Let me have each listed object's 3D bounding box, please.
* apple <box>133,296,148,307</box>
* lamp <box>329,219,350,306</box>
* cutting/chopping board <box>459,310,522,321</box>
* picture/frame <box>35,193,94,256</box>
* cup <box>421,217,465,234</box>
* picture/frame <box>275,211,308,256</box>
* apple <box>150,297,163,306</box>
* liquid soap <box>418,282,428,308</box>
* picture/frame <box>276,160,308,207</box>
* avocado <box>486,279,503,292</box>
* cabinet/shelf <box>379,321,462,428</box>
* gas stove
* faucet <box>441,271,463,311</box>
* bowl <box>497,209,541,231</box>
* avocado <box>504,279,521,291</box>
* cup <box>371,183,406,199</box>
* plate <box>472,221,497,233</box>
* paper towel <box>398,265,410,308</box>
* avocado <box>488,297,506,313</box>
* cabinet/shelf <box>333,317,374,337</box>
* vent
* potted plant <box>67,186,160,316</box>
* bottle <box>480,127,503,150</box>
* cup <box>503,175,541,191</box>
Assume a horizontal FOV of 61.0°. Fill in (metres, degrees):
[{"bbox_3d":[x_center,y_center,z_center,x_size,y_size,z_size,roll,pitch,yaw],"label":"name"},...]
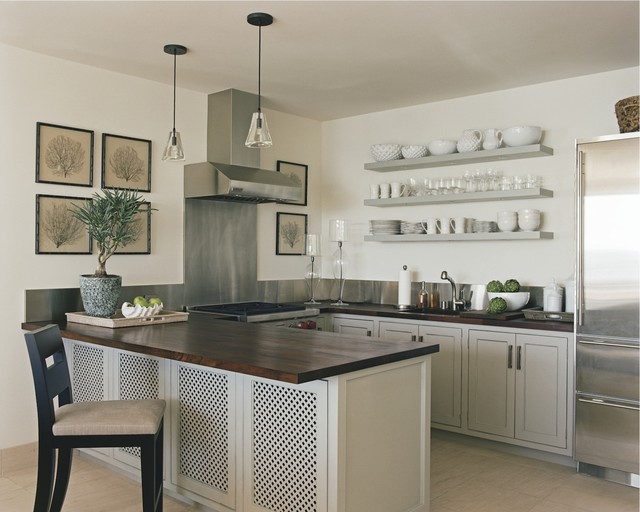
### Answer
[{"bbox_3d":[-1.264,0.319,3.826,0.090,0.036,0.093,2,2,-1],"label":"apple"},{"bbox_3d":[0.176,0.053,5.681,0.161,0.858,0.387,1,3,1],"label":"lamp"},{"bbox_3d":[1.347,0.472,4.276,0.462,0.053,0.307,2,2,23],"label":"cutting/chopping board"},{"bbox_3d":[-1.943,-0.240,4.070,0.039,0.528,0.503,-7,-8,44],"label":"picture/frame"},{"bbox_3d":[1.136,-0.264,4.886,0.265,0.099,0.167,-2,-6,18],"label":"cup"},{"bbox_3d":[-0.298,-0.233,5.661,0.048,0.457,0.520,2,1,31],"label":"picture/frame"},{"bbox_3d":[-1.176,0.324,3.863,0.070,0.040,0.089,1,-3,-5],"label":"apple"},{"bbox_3d":[0.952,0.357,5.014,0.087,0.216,0.414,2,2,10],"label":"liquid soap"},{"bbox_3d":[-0.302,-0.786,5.782,0.477,0.466,0.030,13,14,42],"label":"picture/frame"},{"bbox_3d":[1.463,0.257,4.522,0.122,0.093,0.128,1,3,8],"label":"avocado"},{"bbox_3d":[0.975,0.973,4.676,0.414,0.911,0.968,1,-2,-40],"label":"cabinet/shelf"},{"bbox_3d":[-0.623,0.502,4.833,0.768,0.114,1.024,3,3,45],"label":"gas stove"},{"bbox_3d":[1.164,0.311,4.768,0.202,0.334,0.603,2,2,13],"label":"faucet"},{"bbox_3d":[1.647,-0.289,4.508,0.189,0.140,0.300,0,1,-28],"label":"bowl"},{"bbox_3d":[1.588,0.244,4.485,0.109,0.097,0.102,4,-3,-28],"label":"avocado"},{"bbox_3d":[0.649,-0.628,5.245,0.254,0.166,0.171,0,-1,32],"label":"cup"},{"bbox_3d":[1.432,-0.260,4.755,0.212,0.115,0.217,2,3,28],"label":"plate"},{"bbox_3d":[0.780,0.284,4.983,0.114,0.377,0.292,2,3,9],"label":"paper towel"},{"bbox_3d":[1.410,0.394,4.307,0.129,0.103,0.113,-3,-3,36],"label":"avocado"},{"bbox_3d":[0.313,0.592,4.908,0.253,0.224,0.172,0,-2,42],"label":"cabinet/shelf"},{"bbox_3d":[-0.678,-0.974,4.898,0.680,0.888,0.985,11,11,36],"label":"vent"},{"bbox_3d":[-1.483,-0.017,3.825,0.513,0.879,0.565,-2,0,33],"label":"potted plant"},{"bbox_3d":[1.460,-0.986,4.598,0.207,0.188,0.162,-2,-3,40],"label":"bottle"},{"bbox_3d":[1.672,-0.600,4.524,0.259,0.095,0.158,-2,-2,35],"label":"cup"}]
